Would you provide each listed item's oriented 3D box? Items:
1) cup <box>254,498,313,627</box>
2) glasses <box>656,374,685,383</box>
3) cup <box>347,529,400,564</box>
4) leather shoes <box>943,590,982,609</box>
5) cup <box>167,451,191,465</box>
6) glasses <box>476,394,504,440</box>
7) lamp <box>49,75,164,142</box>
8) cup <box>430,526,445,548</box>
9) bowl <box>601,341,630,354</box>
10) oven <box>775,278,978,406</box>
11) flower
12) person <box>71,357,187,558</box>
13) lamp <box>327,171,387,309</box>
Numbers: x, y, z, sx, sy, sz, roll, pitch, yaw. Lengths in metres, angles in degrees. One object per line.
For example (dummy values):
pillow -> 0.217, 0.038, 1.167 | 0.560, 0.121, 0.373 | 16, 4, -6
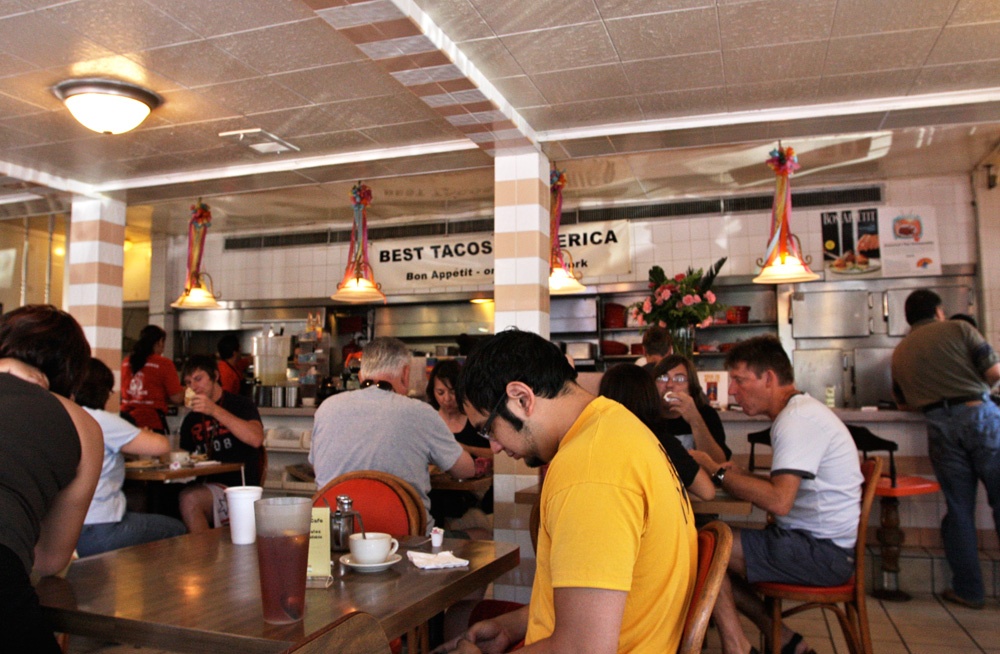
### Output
cup -> -0.749, 0.797, 2.586 | 0.178, 0.428, 0.122 | 1, -2, -15
glasses -> 1.143, 0.334, 4.999 | 0.186, 0.052, 0.056 | 0, -2, 0
cup -> -0.508, 0.870, 3.000 | 0.160, 0.071, 0.117 | 2, -7, 3
leather shoes -> 3.307, 1.945, 5.384 | 0.191, 0.067, 0.070 | 3, 2, 44
cup -> -2.206, 0.889, 5.160 | 0.114, 0.074, 0.109 | 0, 0, 0
glasses -> -0.035, 0.303, 2.533 | 0.045, 0.133, 0.139 | -2, 3, -38
lamp -> -2.728, -1.474, 5.221 | 0.718, 0.225, 0.676 | -4, -5, 0
cup -> -0.289, 0.907, 3.257 | 0.082, 0.078, 0.080 | -2, -5, 0
bowl -> 1.362, 0.249, 8.979 | 0.203, 0.083, 0.187 | 0, -10, 0
oven -> 3.651, 0.133, 7.185 | 1.578, 1.329, 0.526 | -2, -6, 17
flower -> 1.541, -0.271, 6.413 | 0.773, 0.569, 0.554 | -8, 19, 5
person -> -2.341, 0.768, 4.588 | 0.790, 1.089, 0.757 | -5, -4, -3
lamp -> -1.303, -0.837, 6.952 | 0.457, 1.121, 0.542 | 1, -2, -12
